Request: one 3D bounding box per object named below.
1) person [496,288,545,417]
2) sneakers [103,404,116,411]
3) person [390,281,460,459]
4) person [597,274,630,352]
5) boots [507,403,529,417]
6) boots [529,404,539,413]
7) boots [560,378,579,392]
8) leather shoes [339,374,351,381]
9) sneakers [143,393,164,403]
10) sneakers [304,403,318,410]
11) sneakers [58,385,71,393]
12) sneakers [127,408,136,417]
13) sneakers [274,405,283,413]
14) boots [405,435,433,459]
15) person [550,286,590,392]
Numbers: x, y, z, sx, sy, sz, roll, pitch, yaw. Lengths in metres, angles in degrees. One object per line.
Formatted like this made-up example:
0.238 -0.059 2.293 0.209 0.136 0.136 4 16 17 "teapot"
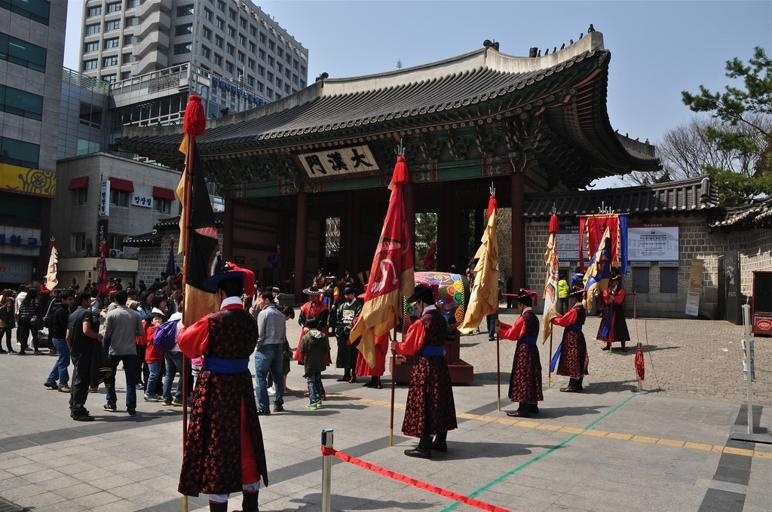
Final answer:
3.377 2.390 17.885 1.237 3.131 0.733 4 -5 -37 "person"
-6.762 3.728 17.743 0.313 0.164 0.129 7 3 28 "sneakers"
0.935 2.534 16.060 1.156 3.746 0.482 1 -4 0 "person"
7.194 1.824 22.871 0.909 2.323 1.119 0 -4 18 "person"
3.263 3.816 17.942 0.629 0.495 0.244 1 -7 9 "boots"
3.666 3.785 17.908 0.201 0.215 0.207 11 -13 -32 "boots"
5.036 3.545 19.801 0.570 0.447 0.243 2 -3 14 "boots"
-1.131 3.492 20.663 0.426 0.192 0.142 4 -2 13 "leather shoes"
-5.965 3.670 18.722 0.534 0.262 0.192 3 -7 -2 "sneakers"
-1.839 3.760 18.037 0.335 0.171 0.242 0 -4 16 "sneakers"
-8.401 3.498 18.971 0.326 0.252 0.123 -1 -6 0 "sneakers"
-6.127 3.782 17.498 0.232 0.184 0.270 2 -4 -11 "sneakers"
-2.602 3.752 17.896 0.264 0.190 0.145 2 -4 -16 "sneakers"
0.736 4.173 15.871 0.615 0.470 0.310 1 -4 1 "boots"
4.954 2.279 19.447 0.830 2.832 1.417 0 -4 17 "person"
